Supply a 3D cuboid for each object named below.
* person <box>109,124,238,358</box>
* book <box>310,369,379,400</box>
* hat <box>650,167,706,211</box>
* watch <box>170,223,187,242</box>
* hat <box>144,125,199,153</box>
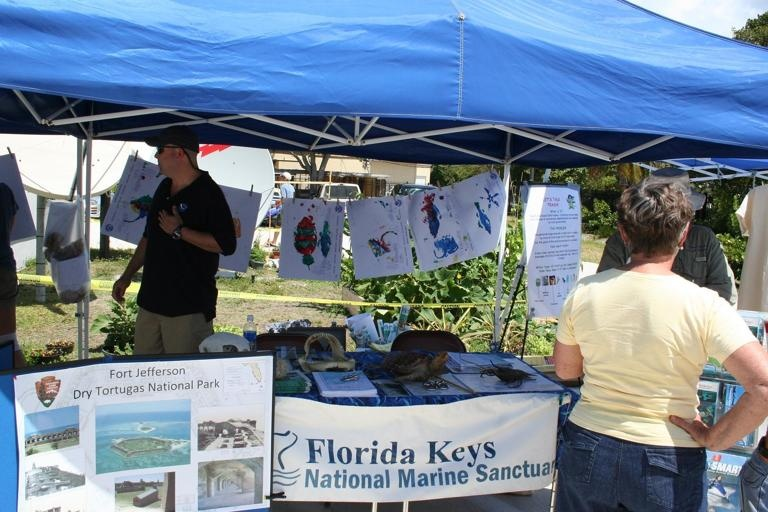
[{"bbox_3d":[-1.578,0.207,5.388,0.971,2.239,0.528,6,4,20],"label":"person"},{"bbox_3d":[-0.286,0.784,4.708,0.427,0.107,0.436,-1,12,-10],"label":"book"},{"bbox_3d":[2.096,-0.513,5.089,0.492,0.216,0.612,1,16,20],"label":"hat"},{"bbox_3d":[-1.447,-0.165,5.058,0.077,0.111,0.104,19,17,-7],"label":"watch"},{"bbox_3d":[-1.522,-0.846,5.198,0.305,0.156,0.193,2,9,-7],"label":"hat"}]
